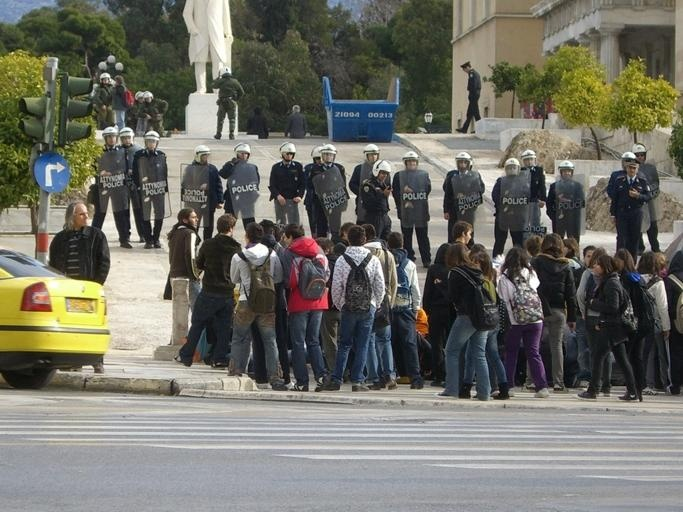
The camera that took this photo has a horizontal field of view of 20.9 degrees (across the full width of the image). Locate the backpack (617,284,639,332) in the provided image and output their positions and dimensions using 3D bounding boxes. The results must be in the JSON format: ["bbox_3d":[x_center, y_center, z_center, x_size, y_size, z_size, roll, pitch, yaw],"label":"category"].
[{"bbox_3d":[4.563,0.861,29.252,0.219,0.687,0.440,1,-3,13],"label":"backpack"}]

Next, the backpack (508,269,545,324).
[{"bbox_3d":[2.908,0.658,29.099,0.467,0.826,0.152,1,-2,6],"label":"backpack"}]

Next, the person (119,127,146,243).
[{"bbox_3d":[-4.382,-1.414,38.694,0.540,2.563,0.461,-5,14,-20],"label":"person"}]

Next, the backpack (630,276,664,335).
[{"bbox_3d":[4.901,0.782,29.618,0.479,0.964,0.526,4,10,13],"label":"backpack"}]

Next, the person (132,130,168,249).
[{"bbox_3d":[-3.987,-1.387,38.447,0.743,2.418,0.823,0,2,-10],"label":"person"}]

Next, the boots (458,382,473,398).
[{"bbox_3d":[1.951,2.131,29.283,0.183,0.234,0.197,2,-3,4],"label":"boots"}]

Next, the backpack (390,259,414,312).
[{"bbox_3d":[1.052,0.406,29.797,0.422,0.920,0.263,2,-2,-7],"label":"backpack"}]

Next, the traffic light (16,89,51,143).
[{"bbox_3d":[-4.978,-2.235,29.598,0.472,0.794,0.527,2,-3,-14],"label":"traffic light"}]

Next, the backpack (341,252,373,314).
[{"bbox_3d":[0.221,0.415,28.998,0.438,0.907,0.170,2,-2,-3],"label":"backpack"}]

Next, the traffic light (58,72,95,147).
[{"bbox_3d":[-4.343,-2.406,29.928,0.544,1.224,1.316,2,-3,-9],"label":"traffic light"}]

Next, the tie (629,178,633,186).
[{"bbox_3d":[5.698,-1.470,36.388,0.054,0.022,0.161,-5,42,13],"label":"tie"}]

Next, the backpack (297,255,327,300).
[{"bbox_3d":[-0.493,0.342,28.993,0.438,0.675,0.153,2,-2,-14],"label":"backpack"}]

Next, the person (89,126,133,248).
[{"bbox_3d":[-4.833,-1.615,38.434,0.734,2.766,0.677,-2,13,-14],"label":"person"}]
